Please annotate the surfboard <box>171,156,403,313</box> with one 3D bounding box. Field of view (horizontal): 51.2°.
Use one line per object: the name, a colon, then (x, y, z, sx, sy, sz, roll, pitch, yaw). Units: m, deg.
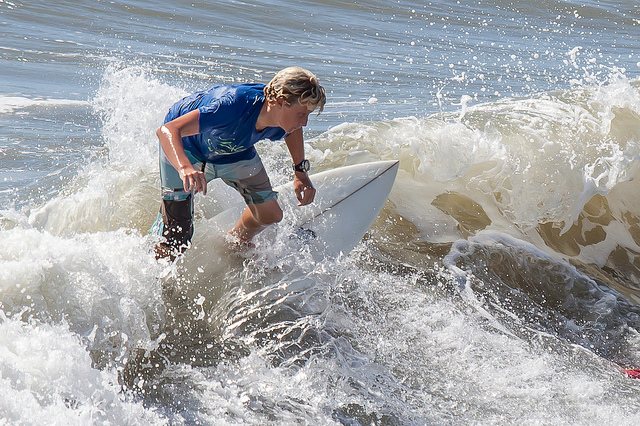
surfboard: (-0.160, 0.120, 7.910, 0.285, 3.375, 1.048, -20, 81, -43)
